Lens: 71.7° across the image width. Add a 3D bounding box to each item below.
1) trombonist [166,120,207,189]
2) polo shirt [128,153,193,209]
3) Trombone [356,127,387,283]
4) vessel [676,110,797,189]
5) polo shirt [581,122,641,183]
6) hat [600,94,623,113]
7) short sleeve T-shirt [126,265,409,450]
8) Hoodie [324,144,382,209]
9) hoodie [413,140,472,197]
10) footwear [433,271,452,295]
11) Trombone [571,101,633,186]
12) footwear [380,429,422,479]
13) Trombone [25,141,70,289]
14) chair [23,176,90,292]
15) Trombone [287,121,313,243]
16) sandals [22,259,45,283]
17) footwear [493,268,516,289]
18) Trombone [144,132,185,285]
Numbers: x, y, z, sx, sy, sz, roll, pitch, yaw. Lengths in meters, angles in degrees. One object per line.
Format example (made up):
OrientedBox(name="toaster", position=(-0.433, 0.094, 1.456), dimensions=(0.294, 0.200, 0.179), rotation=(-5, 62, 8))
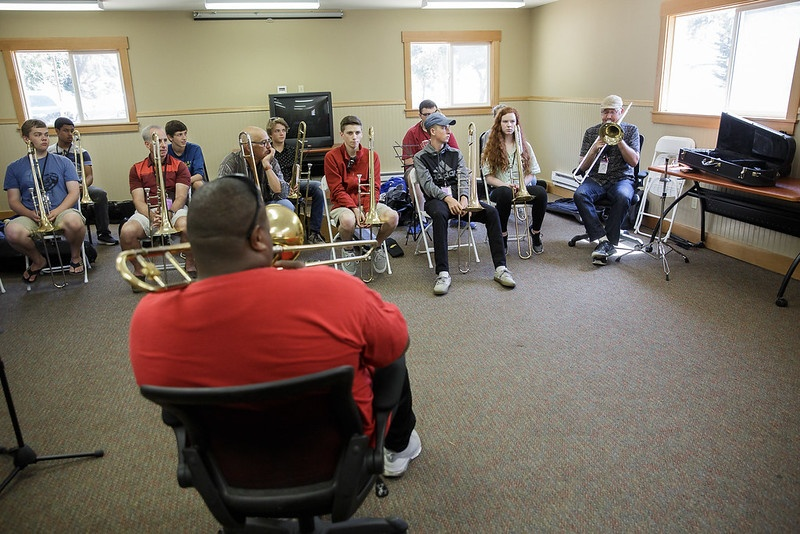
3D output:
OrientedBox(name="trombonist", position=(-2.239, -1.083, 5.606), dimensions=(0.435, 0.709, 0.538), rotation=(-11, 31, -32))
OrientedBox(name="polo shirt", position=(-2.288, -0.828, 5.167), dimensions=(0.429, 0.592, 0.210), rotation=(0, 0, -4))
OrientedBox(name="Trombone", position=(-0.255, -0.635, 4.973), dimensions=(0.263, 1.565, 0.215), rotation=(1, -2, -10))
OrientedBox(name="vessel", position=(2.954, -0.948, 4.700), dimensions=(0.648, 0.611, 1.004), rotation=(-3, 24, -27))
OrientedBox(name="polo shirt", position=(2.123, -1.135, 5.611), dimensions=(0.575, 0.685, 0.362), rotation=(13, 27, 32))
OrientedBox(name="hat", position=(2.056, -1.584, 5.378), dimensions=(0.176, 0.138, 0.245), rotation=(4, 21, 16))
OrientedBox(name="short sleeve T-shirt", position=(-0.500, 0.232, 2.248), dimensions=(0.843, 0.861, 0.506), rotation=(-1, 34, 2))
OrientedBox(name="Hoodie", position=(-0.463, -0.869, 5.304), dimensions=(0.510, 0.612, 0.358), rotation=(-4, 12, -24))
OrientedBox(name="hoodie", position=(0.362, -0.920, 5.328), dimensions=(0.480, 0.630, 0.533), rotation=(-12, 11, -24))
OrientedBox(name="footwear", position=(0.360, 0.142, 4.751), dimensions=(0.113, 0.144, 0.214), rotation=(6, 21, 21))
OrientedBox(name="Trombone", position=(1.955, -1.187, 5.326), dimensions=(0.300, 0.279, 1.490), rotation=(10, 43, 33))
OrientedBox(name="footwear", position=(0.010, 1.015, 3.020), dimensions=(0.119, 0.127, 0.268), rotation=(12, 37, 29))
OrientedBox(name="Trombone", position=(-3.312, -0.538, 5.122), dimensions=(0.286, 1.132, 0.356), rotation=(-7, 2, 26))
OrientedBox(name="chair", position=(-3.460, -0.246, 5.340), dimensions=(0.410, 0.575, 1.341), rotation=(-15, -3, -35))
OrientedBox(name="Trombone", position=(-1.073, -0.819, 5.685), dimensions=(0.344, 1.395, 0.476), rotation=(-5, 63, -11))
OrientedBox(name="sandals", position=(-3.500, 0.023, 5.291), dimensions=(0.110, 0.080, 0.292), rotation=(8, 44, -4))
OrientedBox(name="footwear", position=(0.907, 0.091, 4.823), dimensions=(0.095, 0.108, 0.246), rotation=(-2, 8, -14))
OrientedBox(name="Trombone", position=(-2.099, -0.609, 4.805), dimensions=(0.362, 1.006, 0.472), rotation=(-7, -10, -35))
